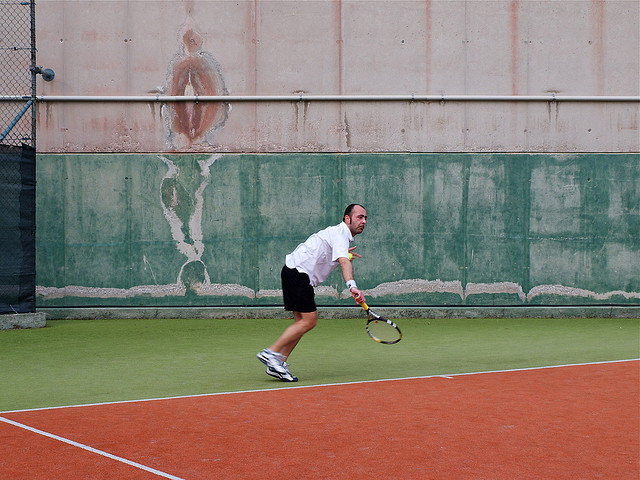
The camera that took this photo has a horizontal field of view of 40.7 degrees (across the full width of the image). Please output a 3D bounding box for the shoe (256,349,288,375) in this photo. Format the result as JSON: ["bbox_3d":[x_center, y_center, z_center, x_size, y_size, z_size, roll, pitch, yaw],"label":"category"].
[{"bbox_3d":[-0.615,1.594,11.166,0.369,0.298,0.203,0,4,-5],"label":"shoe"}]

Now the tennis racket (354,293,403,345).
[{"bbox_3d":[0.827,1.126,11.231,0.370,0.085,0.934,-16,-41,25],"label":"tennis racket"}]

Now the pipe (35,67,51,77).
[{"bbox_3d":[-5.423,-3.307,16.744,0.362,0.120,0.304,19,15,26],"label":"pipe"}]
